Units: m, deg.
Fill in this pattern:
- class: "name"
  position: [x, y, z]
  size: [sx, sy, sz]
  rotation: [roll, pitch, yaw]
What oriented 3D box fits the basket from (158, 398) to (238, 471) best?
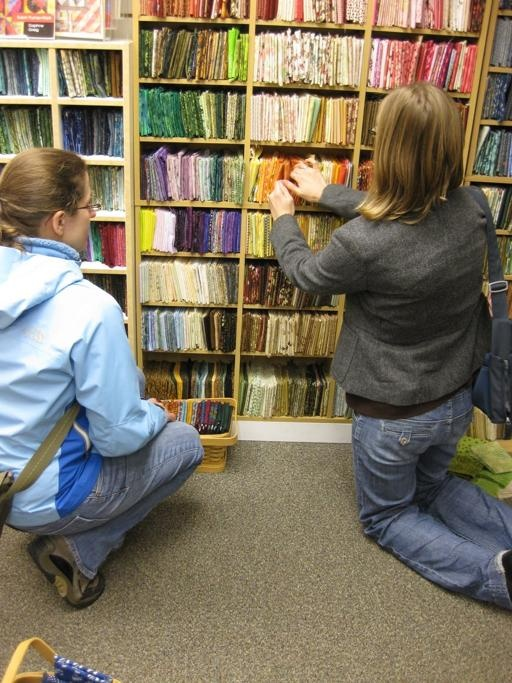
- class: "basket"
  position: [-0.212, 0.383, 2.645]
  size: [0.287, 0.116, 0.369]
  rotation: [0, 26, 1]
